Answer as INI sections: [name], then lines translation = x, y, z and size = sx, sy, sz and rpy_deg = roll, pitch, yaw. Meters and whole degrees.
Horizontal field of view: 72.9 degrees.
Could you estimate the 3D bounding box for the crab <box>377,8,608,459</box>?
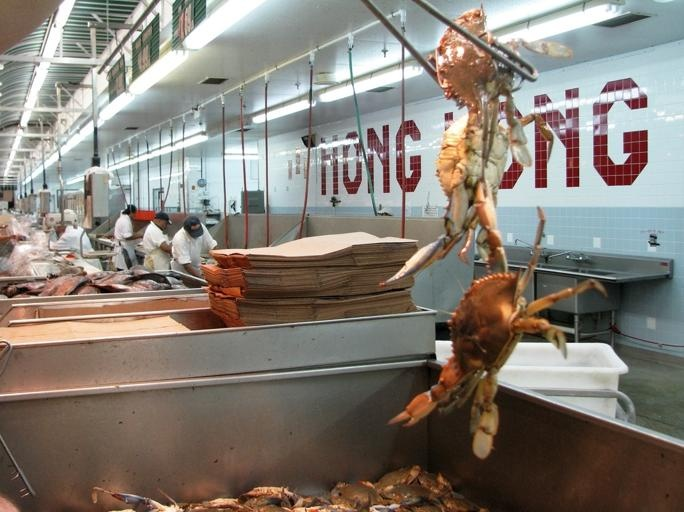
[crab]
translation = 0.339, -0.054, 1.150
size = 0.388, 1.083, 0.458
rpy_deg = 7, 9, 14
